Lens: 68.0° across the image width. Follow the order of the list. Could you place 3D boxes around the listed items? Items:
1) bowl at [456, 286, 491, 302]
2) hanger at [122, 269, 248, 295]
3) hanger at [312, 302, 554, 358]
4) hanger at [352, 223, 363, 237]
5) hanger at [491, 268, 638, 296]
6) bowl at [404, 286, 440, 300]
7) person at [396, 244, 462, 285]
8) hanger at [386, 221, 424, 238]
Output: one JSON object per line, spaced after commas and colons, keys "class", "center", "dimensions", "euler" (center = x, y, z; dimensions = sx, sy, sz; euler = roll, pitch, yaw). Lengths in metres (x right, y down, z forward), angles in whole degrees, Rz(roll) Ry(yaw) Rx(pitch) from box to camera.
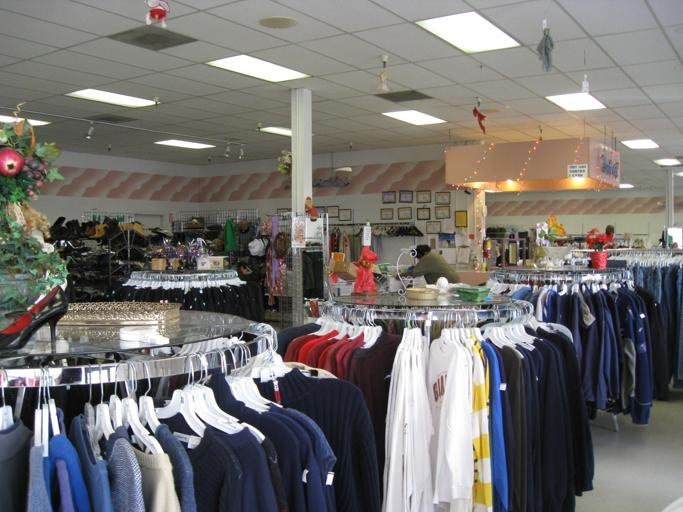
{"class": "bowl", "center": [0.840, 0.235, 3.183], "dimensions": [0.178, 0.091, 0.219], "euler": [-2, -2, 21]}
{"class": "hanger", "center": [-1.886, 0.299, 6.071], "dimensions": [1.380, 0.271, 0.512], "euler": [0, -3, -24]}
{"class": "hanger", "center": [0.519, 0.412, 3.161], "dimensions": [1.270, 0.299, 0.782], "euler": [0, -2, -20]}
{"class": "hanger", "center": [0.434, -0.668, 13.035], "dimensions": [0.323, 0.293, 0.078], "euler": [-1, -8, 40]}
{"class": "hanger", "center": [2.053, 0.214, 4.704], "dimensions": [1.275, 0.210, 0.816], "euler": [-1, -2, 17]}
{"class": "bowl", "center": [0.505, 0.233, 3.162], "dimensions": [0.179, 0.072, 0.140], "euler": [1, -3, -34]}
{"class": "person", "center": [1.206, 0.077, 6.739], "dimensions": [0.653, 0.536, 1.636], "euler": [-1, -2, 10]}
{"class": "hanger", "center": [1.550, -0.631, 12.492], "dimensions": [1.078, 0.399, 0.327], "euler": [2, 3, 28]}
